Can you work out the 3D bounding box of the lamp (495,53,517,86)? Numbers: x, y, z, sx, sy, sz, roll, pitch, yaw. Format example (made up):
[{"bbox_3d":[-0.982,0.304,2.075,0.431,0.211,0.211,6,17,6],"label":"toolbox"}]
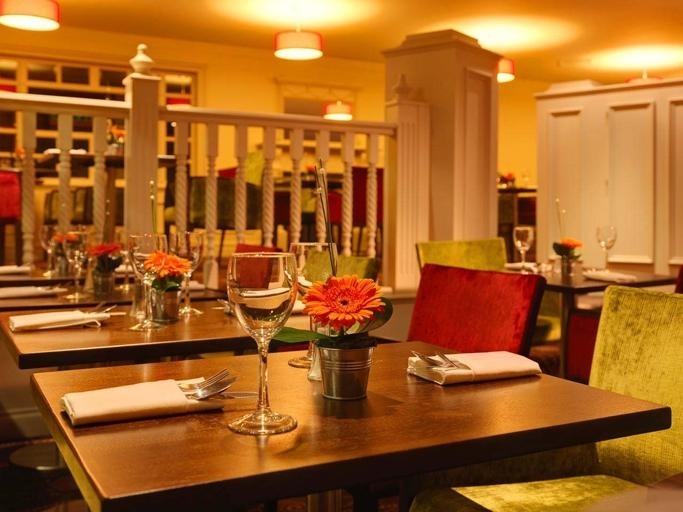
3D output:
[{"bbox_3d":[2.151,-2.470,7.764,0.179,0.312,0.690,2,6,16],"label":"lamp"}]

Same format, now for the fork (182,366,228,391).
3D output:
[{"bbox_3d":[-0.264,0.240,1.154,0.083,0.014,0.014,-16,35,3],"label":"fork"}]

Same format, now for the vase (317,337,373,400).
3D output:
[{"bbox_3d":[0.006,0.217,1.139,0.102,0.083,0.110,0,-4,7],"label":"vase"}]
